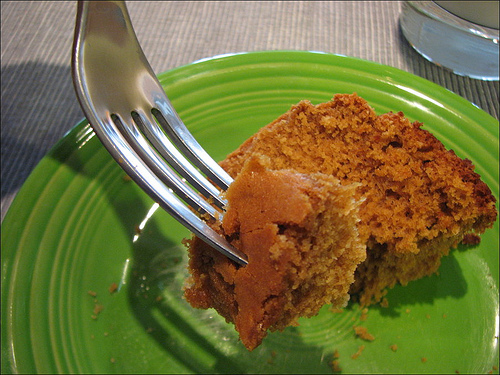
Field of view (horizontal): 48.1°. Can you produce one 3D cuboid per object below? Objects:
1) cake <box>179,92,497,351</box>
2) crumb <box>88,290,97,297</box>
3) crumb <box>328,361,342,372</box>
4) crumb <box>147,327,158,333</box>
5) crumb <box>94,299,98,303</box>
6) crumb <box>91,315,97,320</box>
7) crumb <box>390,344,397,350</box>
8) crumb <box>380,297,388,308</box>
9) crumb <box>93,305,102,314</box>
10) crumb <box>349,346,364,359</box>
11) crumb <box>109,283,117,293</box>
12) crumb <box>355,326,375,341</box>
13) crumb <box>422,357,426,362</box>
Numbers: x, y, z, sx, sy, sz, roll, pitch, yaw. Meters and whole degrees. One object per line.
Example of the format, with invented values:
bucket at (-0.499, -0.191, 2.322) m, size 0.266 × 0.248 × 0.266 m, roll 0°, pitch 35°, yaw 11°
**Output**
cake at (0.206, 0.125, 1.525) m, size 0.707 × 0.286 × 0.604 m, roll -20°, pitch 70°, yaw -6°
crumb at (-0.404, 0.269, 1.425) m, size 0.016 × 0.004 × 0.011 m, roll 21°, pitch 57°, yaw 3°
crumb at (0.213, 0.446, 1.401) m, size 0.031 × 0.005 × 0.025 m, roll 1°, pitch 77°, yaw 1°
crumb at (-0.252, 0.358, 1.412) m, size 0.016 × 0.005 × 0.010 m, roll -1°, pitch 64°, yaw -26°
crumb at (-0.393, 0.288, 1.423) m, size 0.009 × 0.002 × 0.009 m, roll -13°, pitch 77°, yaw -2°
crumb at (-0.395, 0.324, 1.404) m, size 0.009 × 0.002 × 0.006 m, roll 27°, pitch 66°, yaw 10°
crumb at (0.362, 0.400, 1.408) m, size 0.017 × 0.004 × 0.012 m, roll 6°, pitch 77°, yaw 3°
crumb at (0.350, 0.297, 1.447) m, size 0.017 × 0.006 × 0.019 m, roll -15°, pitch 65°, yaw -14°
crumb at (-0.388, 0.308, 1.411) m, size 0.014 × 0.005 × 0.020 m, roll 32°, pitch 64°, yaw 3°
crumb at (0.271, 0.415, 1.408) m, size 0.015 × 0.006 × 0.048 m, roll 32°, pitch 63°, yaw 28°
crumb at (-0.354, 0.258, 1.434) m, size 0.013 × 0.005 × 0.020 m, roll 47°, pitch 62°, yaw 1°
crumb at (0.289, 0.370, 1.421) m, size 0.025 × 0.013 × 0.042 m, roll -28°, pitch 51°, yaw -34°
crumb at (0.435, 0.426, 1.392) m, size 0.007 × 0.002 × 0.007 m, roll -25°, pitch 46°, yaw -18°
